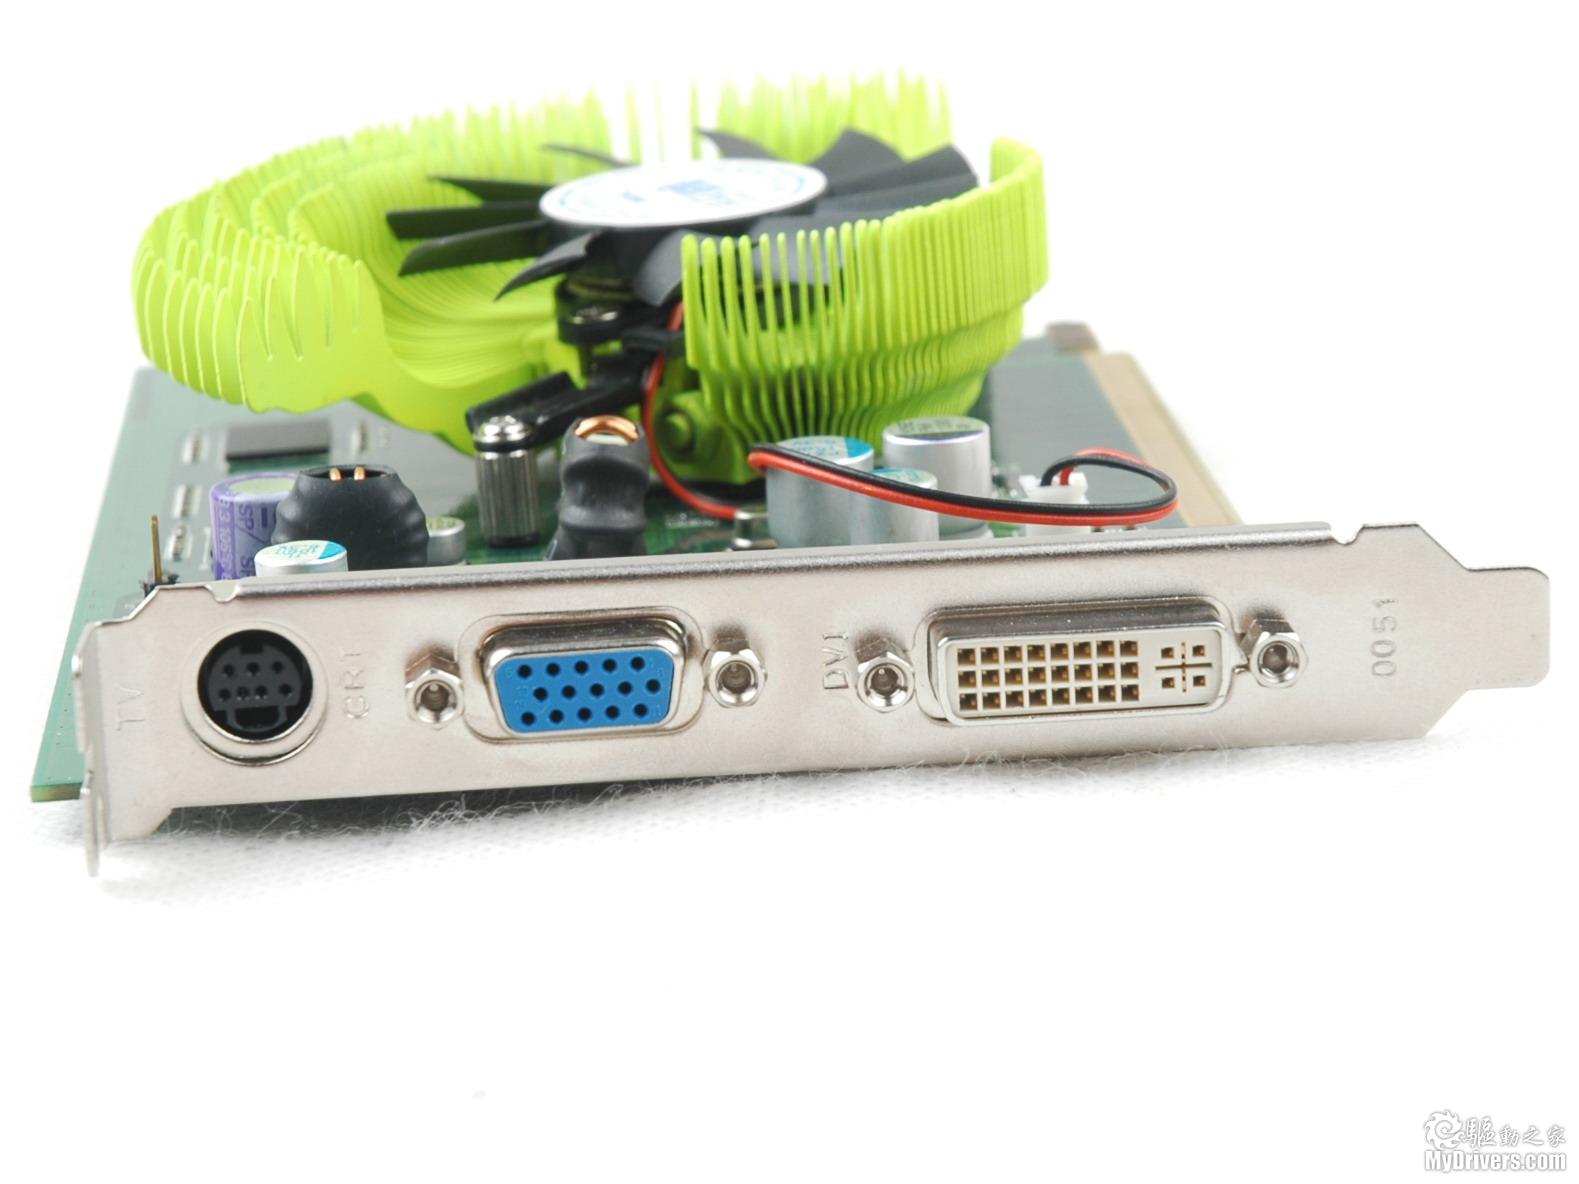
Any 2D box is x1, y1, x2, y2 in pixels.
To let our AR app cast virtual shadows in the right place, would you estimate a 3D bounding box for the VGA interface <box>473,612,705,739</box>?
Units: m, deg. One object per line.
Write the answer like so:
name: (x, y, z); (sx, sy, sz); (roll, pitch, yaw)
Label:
VGA interface: (-0.340, 0.143, 2.966); (0.360, 0.201, 0.050); (-3, 17, -4)
